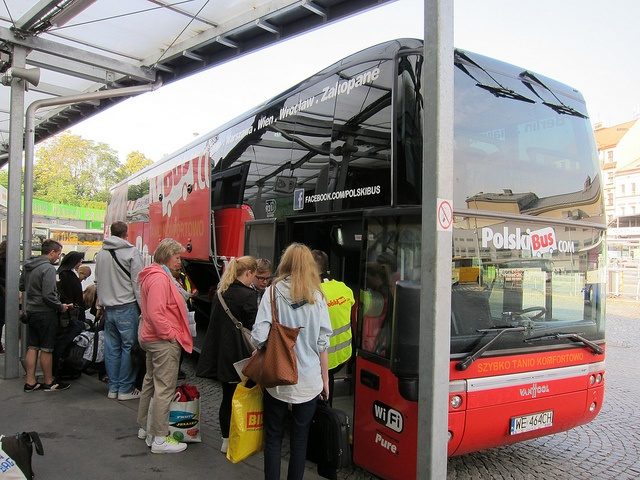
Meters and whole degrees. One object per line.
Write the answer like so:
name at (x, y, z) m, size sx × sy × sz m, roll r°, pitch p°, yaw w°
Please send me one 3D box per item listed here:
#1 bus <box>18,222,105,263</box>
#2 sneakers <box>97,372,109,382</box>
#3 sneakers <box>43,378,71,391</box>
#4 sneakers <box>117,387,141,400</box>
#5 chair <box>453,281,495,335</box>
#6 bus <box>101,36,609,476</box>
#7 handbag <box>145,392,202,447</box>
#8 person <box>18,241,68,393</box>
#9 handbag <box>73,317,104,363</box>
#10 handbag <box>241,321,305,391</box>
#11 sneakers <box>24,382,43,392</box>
bus at (-11.718, 0.221, 21.499) m, size 1.254 × 1.516 × 4.706 m, roll 0°, pitch -1°, yaw 10°
sneakers at (-3.580, 2.272, 7.622) m, size 0.217 × 0.187 × 0.116 m, roll -2°, pitch -29°, yaw -19°
sneakers at (-4.106, 2.221, 7.178) m, size 0.421 × 0.175 × 0.151 m, roll 0°, pitch 0°, yaw -24°
sneakers at (-2.834, 2.281, 6.909) m, size 0.349 × 0.143 × 0.125 m, roll 0°, pitch 2°, yaw -43°
chair at (1.549, 0.695, 4.689) m, size 0.497 × 0.459 × 0.264 m, roll 4°, pitch -11°, yaw -29°
bus at (-0.675, -0.025, 7.058) m, size 8.475 × 4.630 × 2.996 m, roll 4°, pitch 3°, yaw 39°
handbag at (-1.747, 2.134, 5.544) m, size 0.590 × 0.637 × 0.304 m, roll 6°, pitch -16°, yaw -36°
person at (-4.270, 1.148, 7.189) m, size 0.594 × 2.306 × 0.713 m, roll 1°, pitch 3°, yaw -33°
handbag at (-3.692, 1.602, 7.330) m, size 0.652 × 0.660 × 0.357 m, roll -6°, pitch -10°, yaw 41°
handbag at (-0.464, 1.044, 4.288) m, size 0.582 × 0.572 × 0.300 m, roll 9°, pitch 5°, yaw 24°
sneakers at (-4.385, 2.242, 7.095) m, size 0.106 × 0.125 × 0.303 m, roll 5°, pitch 7°, yaw 43°
